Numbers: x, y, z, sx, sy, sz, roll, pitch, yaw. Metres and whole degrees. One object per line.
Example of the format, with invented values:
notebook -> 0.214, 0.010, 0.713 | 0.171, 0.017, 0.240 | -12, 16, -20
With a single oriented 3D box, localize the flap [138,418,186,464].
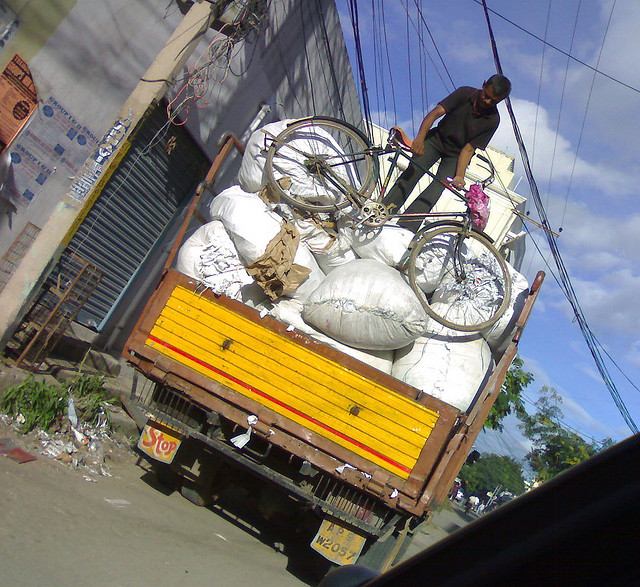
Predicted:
flap -> -1.208, 1.115, 4.475 | 0.288, 0.314, 0.072 | 25, -5, 1

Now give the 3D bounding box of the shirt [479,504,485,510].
shirt -> 5.786, 7.684, 20.927 | 0.143, 0.184, 1.900 | 21, -12, 20

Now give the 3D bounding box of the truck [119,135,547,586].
truck -> 0.035, 0.571, 5.670 | 2.260, 2.132, 3.369 | 31, 5, 3

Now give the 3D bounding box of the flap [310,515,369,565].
flap -> 0.127, 1.683, 4.130 | 0.329, 0.330, 0.372 | -1, 1, -1
